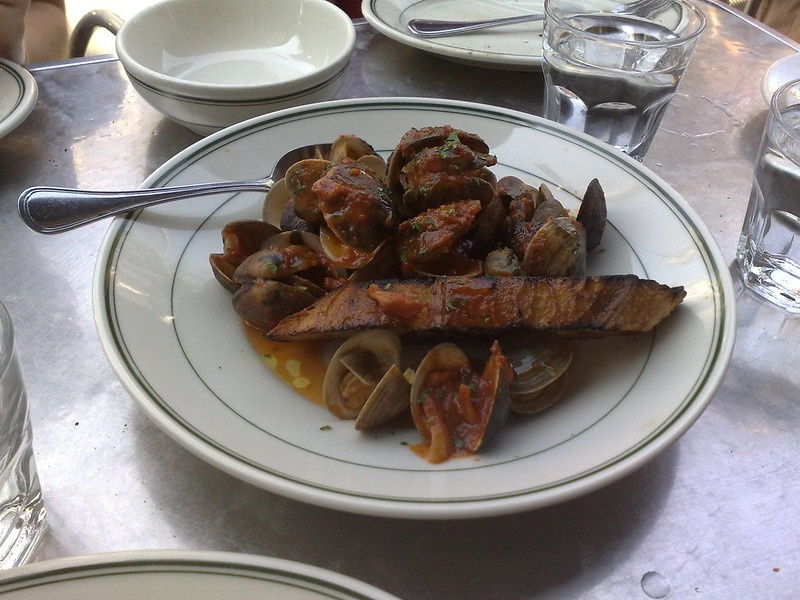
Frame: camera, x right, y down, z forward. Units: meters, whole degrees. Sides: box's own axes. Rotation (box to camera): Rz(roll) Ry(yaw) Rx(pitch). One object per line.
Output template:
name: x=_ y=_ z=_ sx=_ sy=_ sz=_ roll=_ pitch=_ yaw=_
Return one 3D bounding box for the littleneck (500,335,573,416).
littleneck: x=0.266 y=0.136 z=1.447 sx=0.175 sy=0.048 sz=0.139 roll=-5 pitch=46 yaw=5

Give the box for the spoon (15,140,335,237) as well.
spoon: x=-0.414 y=-0.255 z=1.700 sx=0.787 sy=0.064 sz=0.207 roll=-6 pitch=48 yaw=-18

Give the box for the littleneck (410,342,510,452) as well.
littleneck: x=0.115 y=0.196 z=1.395 sx=0.192 sy=0.073 sz=0.196 roll=11 pitch=50 yaw=-4
